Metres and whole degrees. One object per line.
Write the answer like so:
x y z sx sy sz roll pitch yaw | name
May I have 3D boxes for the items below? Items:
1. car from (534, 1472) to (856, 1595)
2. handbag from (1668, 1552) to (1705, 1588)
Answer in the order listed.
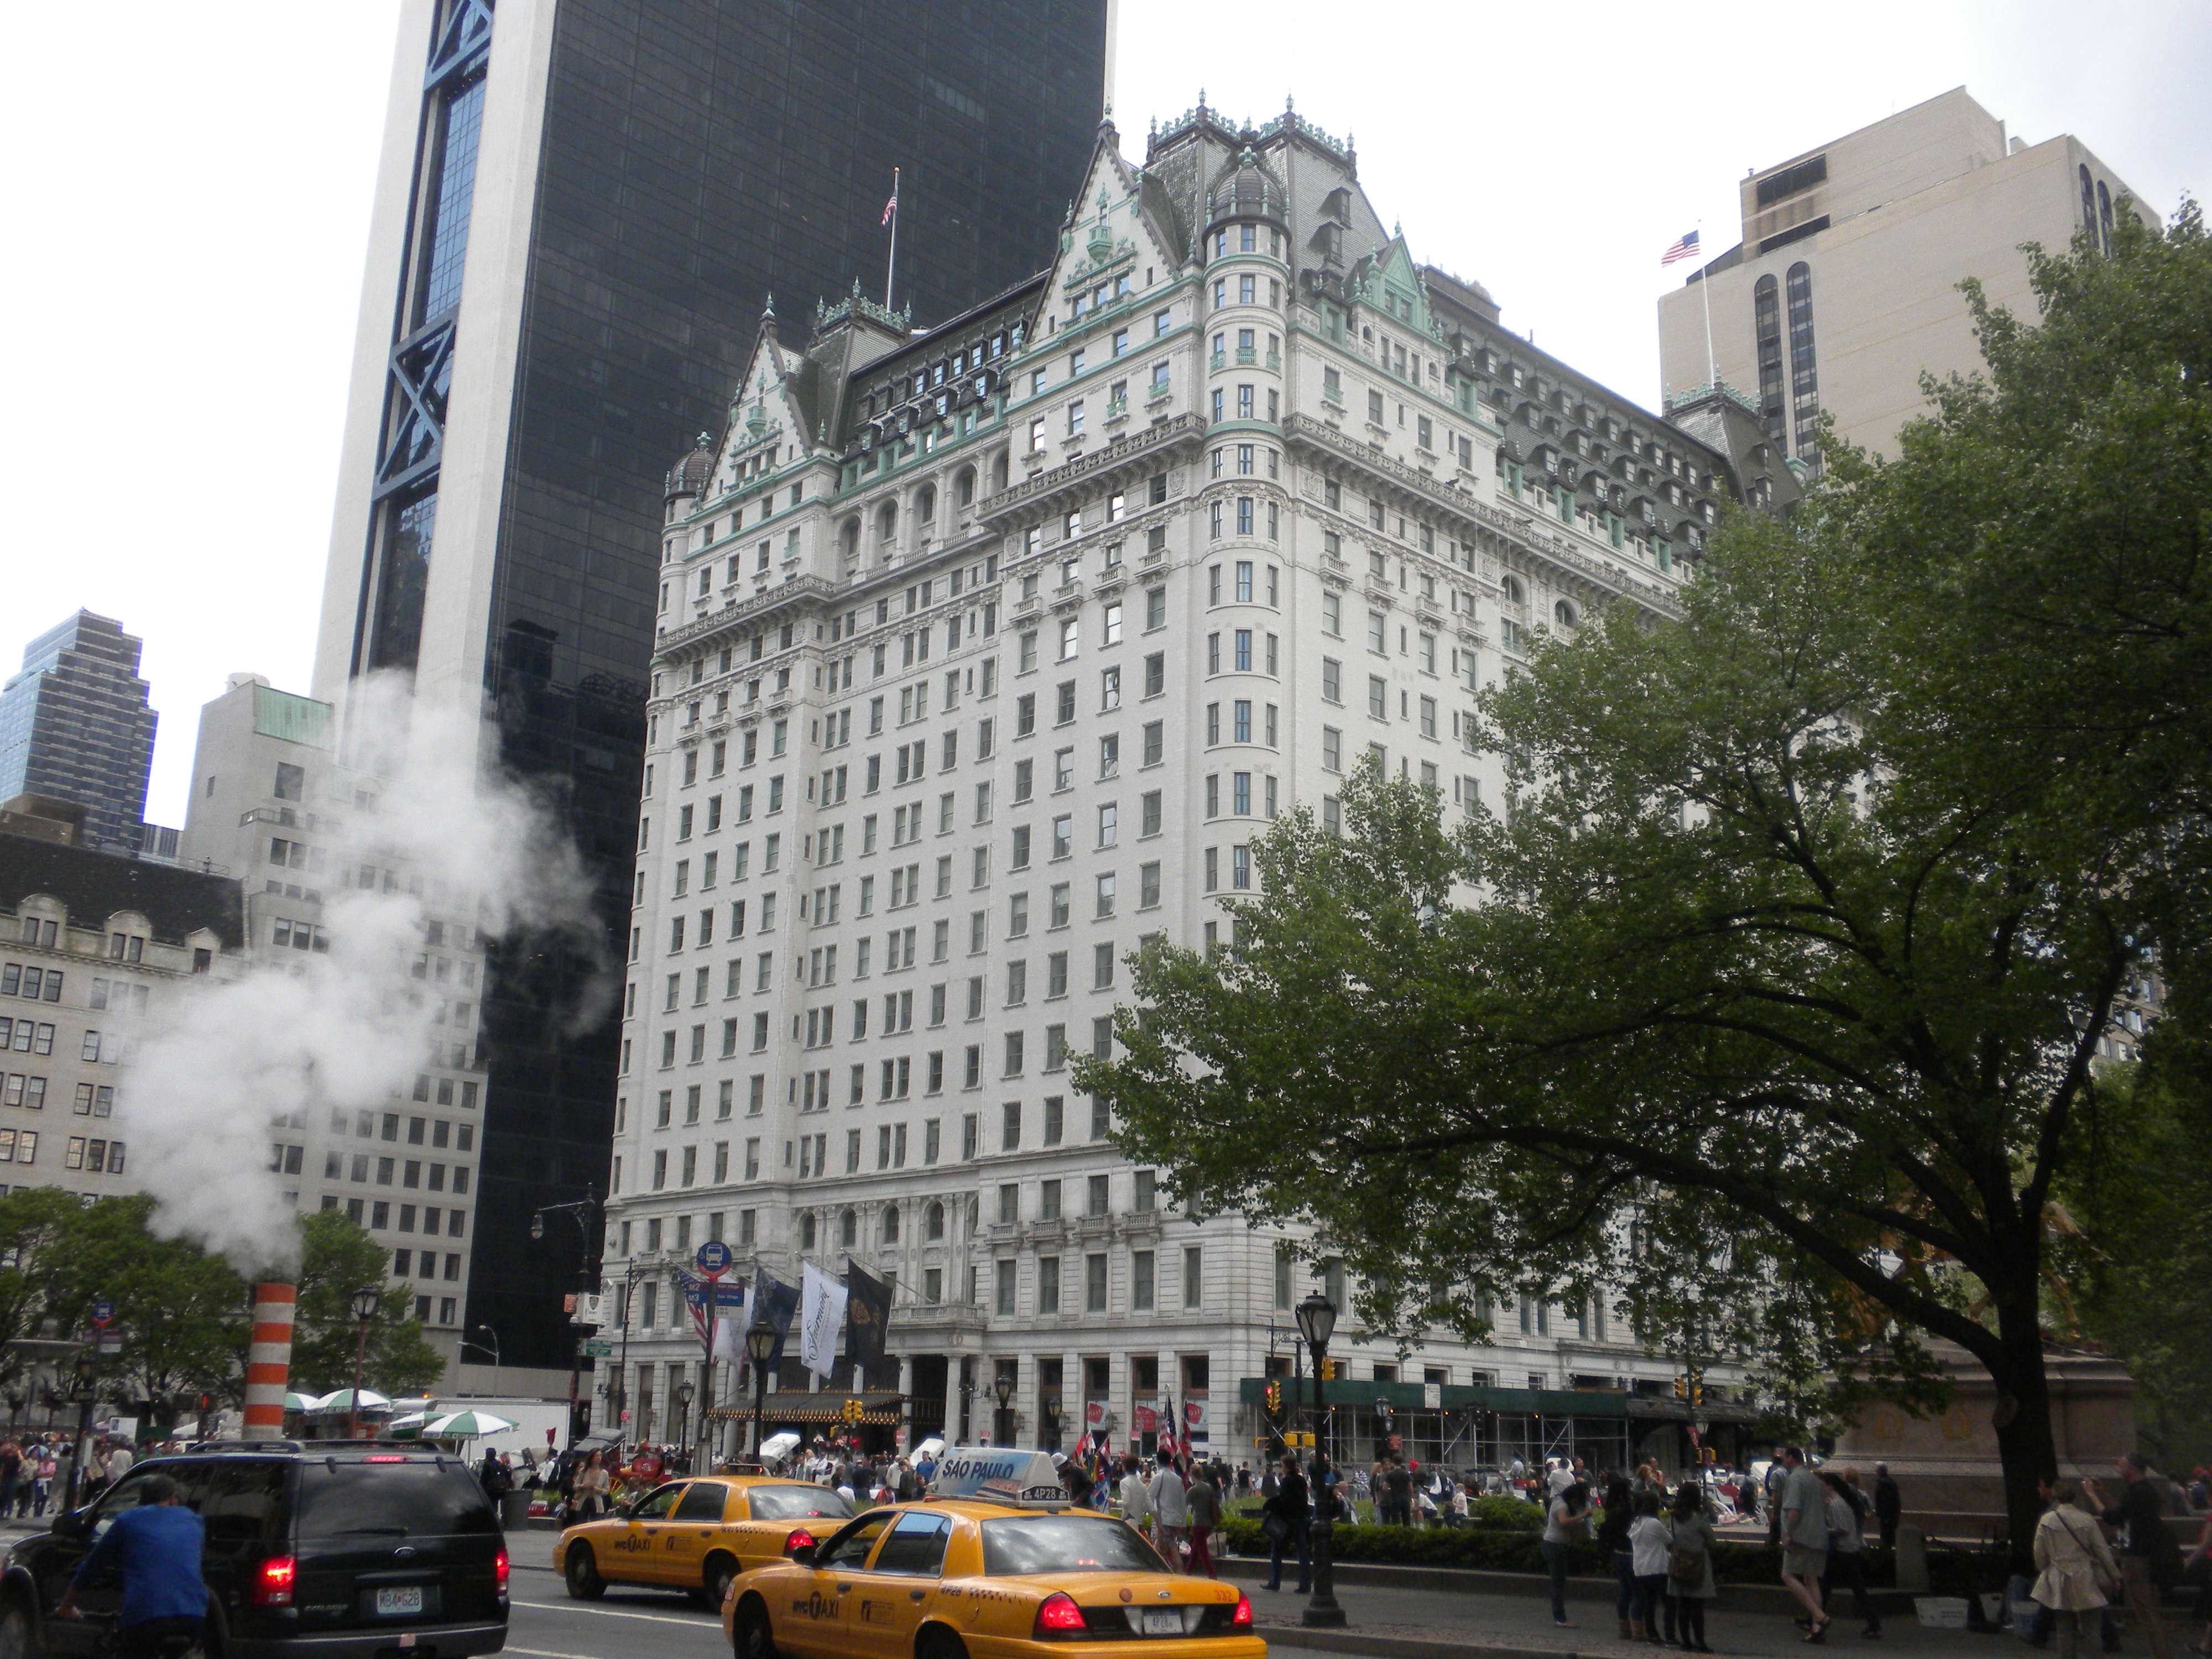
-6.458 10.925 34.674 5.731 1.912 2.579 -13 -23 35 | car
8.374 10.605 30.932 0.515 0.559 0.264 -1 -19 4 | handbag
